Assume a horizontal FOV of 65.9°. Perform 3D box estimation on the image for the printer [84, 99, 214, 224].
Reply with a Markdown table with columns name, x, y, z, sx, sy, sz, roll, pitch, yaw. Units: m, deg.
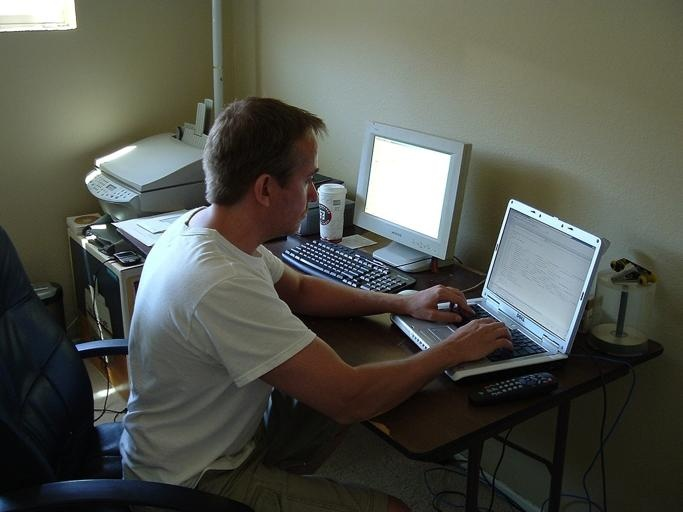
| name | x | y | z | sx | sy | sz | roll | pitch | yaw |
| --- | --- | --- | --- | --- | --- | --- | --- | --- | --- |
| printer | -0.854 | -0.434 | 2.538 | 0.590 | 0.447 | 0.483 | -26 | 33 | -30 |

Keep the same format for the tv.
| name | x | y | z | sx | sy | sz | roll | pitch | yaw |
| --- | --- | --- | --- | --- | --- | --- | --- | --- | --- |
| tv | 0.284 | -0.227 | 2.000 | 0.238 | 0.472 | 0.442 | -18 | 30 | -40 |

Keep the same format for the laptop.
| name | x | y | z | sx | sy | sz | roll | pitch | yaw |
| --- | --- | --- | --- | --- | --- | --- | --- | --- | --- |
| laptop | 0.441 | 0.094 | 1.556 | 0.492 | 0.373 | 0.461 | -5 | 19 | -7 |

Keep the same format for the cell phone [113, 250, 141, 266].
| name | x | y | z | sx | sy | sz | roll | pitch | yaw |
| --- | --- | --- | --- | --- | --- | --- | --- | --- | --- |
| cell phone | -0.932 | -0.004 | 2.299 | 0.075 | 0.025 | 0.082 | -6 | 31 | -35 |
